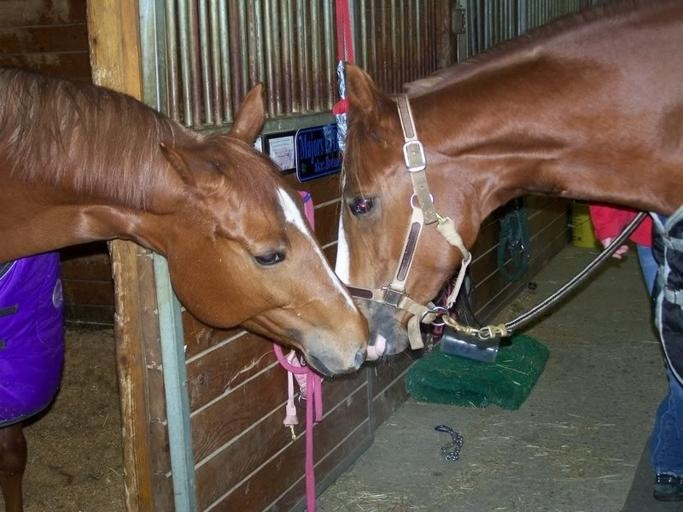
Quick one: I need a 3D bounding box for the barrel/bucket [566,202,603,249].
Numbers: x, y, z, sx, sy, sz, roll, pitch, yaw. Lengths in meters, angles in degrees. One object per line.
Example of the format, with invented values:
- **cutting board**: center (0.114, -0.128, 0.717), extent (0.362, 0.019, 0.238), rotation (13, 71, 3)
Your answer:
- **barrel/bucket**: center (2.132, -0.276, 5.963), extent (0.238, 0.436, 0.283), rotation (-9, 18, 21)
